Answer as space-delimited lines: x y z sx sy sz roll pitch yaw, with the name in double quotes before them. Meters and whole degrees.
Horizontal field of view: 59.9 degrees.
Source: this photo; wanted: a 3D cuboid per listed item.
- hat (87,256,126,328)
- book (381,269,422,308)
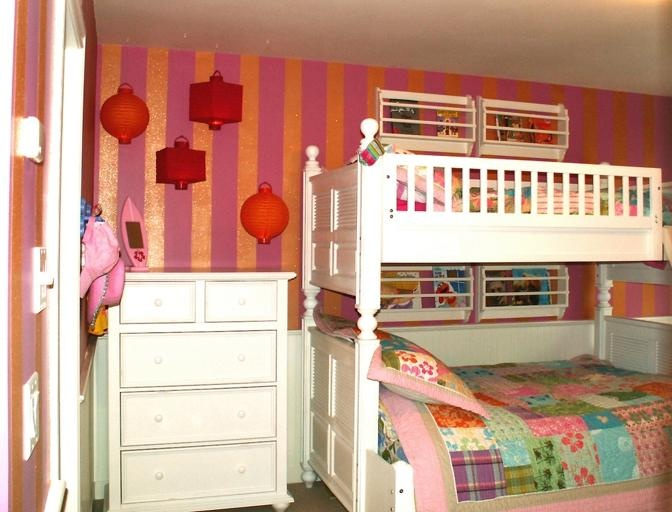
"hat" -1.087 0.181 2.820 0.098 0.338 0.189 12 4 -17
"book" 0.449 0.222 4.159 0.401 0.303 0.225 0 -2 -28
